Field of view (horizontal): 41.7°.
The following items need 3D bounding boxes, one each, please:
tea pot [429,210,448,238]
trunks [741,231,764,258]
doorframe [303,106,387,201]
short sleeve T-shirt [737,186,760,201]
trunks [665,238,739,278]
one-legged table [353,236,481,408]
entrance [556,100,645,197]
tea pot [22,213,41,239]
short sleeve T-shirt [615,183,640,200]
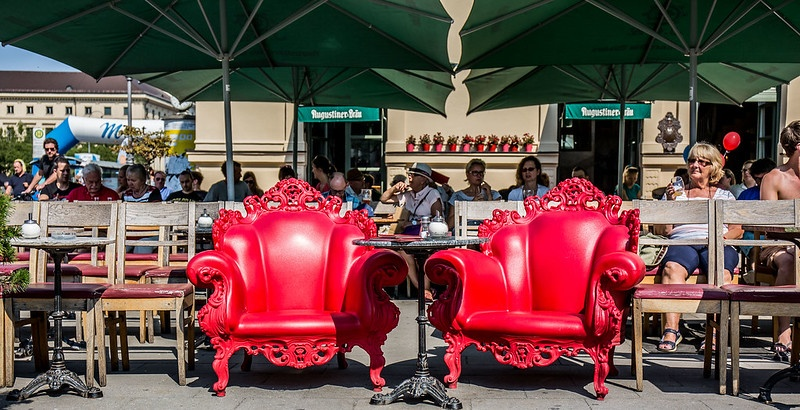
[{"bbox_3d":[0.579,0.344,16.340,0.270,0.316,0.321,0,-7,-1],"label":"tea pot"},{"bbox_3d":[5.922,0.606,17.951,0.176,0.500,0.385,0,6,-41],"label":"trunks"},{"bbox_3d":[-1.231,-1.199,24.066,2.388,2.588,0.218,0,1,0],"label":"doorframe"},{"bbox_3d":[5.956,-0.198,17.975,0.408,0.296,0.214,-1,-1,6],"label":"short sleeve T-shirt"},{"bbox_3d":[4.920,0.847,17.292,0.727,0.617,0.287,-1,5,4],"label":"trunks"},{"bbox_3d":[0.291,1.743,16.096,1.620,2.571,0.707,-1,0,-2],"label":"one-legged table"},{"bbox_3d":[5.574,-1.854,27.756,2.481,2.822,2.312,0,-1,0],"label":"entrance"},{"bbox_3d":[-5.658,0.348,16.111,0.257,0.327,0.323,-1,0,-21],"label":"tea pot"},{"bbox_3d":[4.840,-0.305,22.358,0.377,0.341,0.200,3,-7,-22],"label":"short sleeve T-shirt"}]
